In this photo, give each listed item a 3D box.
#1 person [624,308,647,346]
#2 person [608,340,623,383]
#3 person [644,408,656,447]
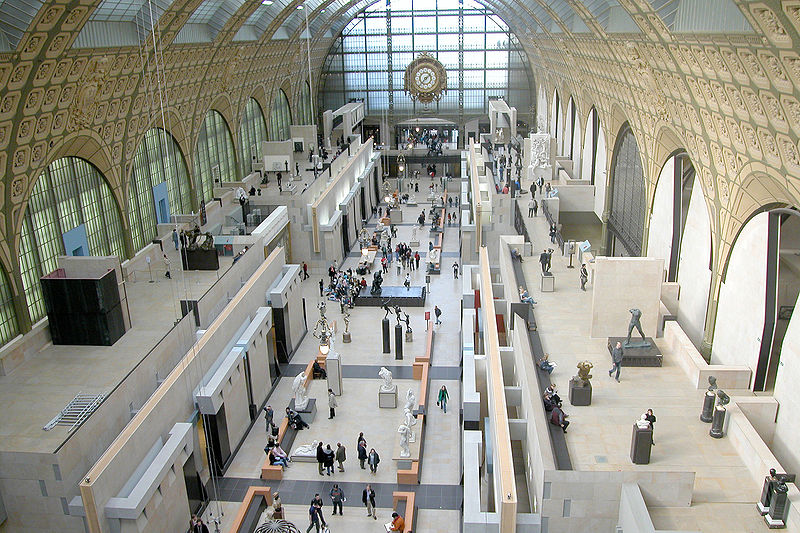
[{"bbox_3d":[9.074,2.235,21.394,0.686,1.311,2.045,2,3,23],"label":"person"},{"bbox_3d":[7.888,3.454,20.403,0.487,1.295,1.751,2,3,21],"label":"person"},{"bbox_3d":[7.719,4.973,17.273,0.316,1.166,1.927,3,3,27],"label":"person"}]
